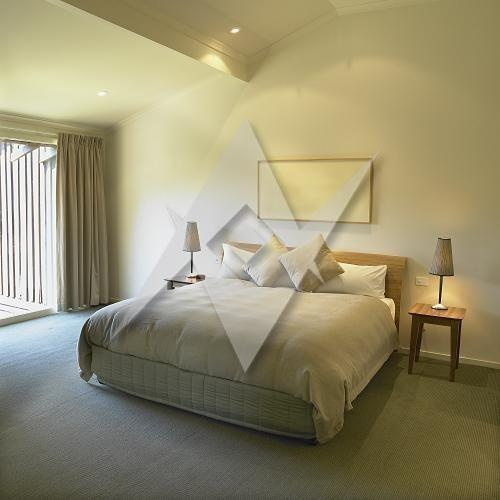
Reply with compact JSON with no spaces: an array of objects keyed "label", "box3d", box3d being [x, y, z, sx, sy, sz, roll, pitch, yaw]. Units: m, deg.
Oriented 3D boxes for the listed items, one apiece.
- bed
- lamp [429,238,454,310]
[{"label":"bed","box3d":[0.012,0.537,3.244,2.163,0.990,2.369,1,3,23]},{"label":"lamp","box3d":[1.575,0.191,3.132,0.167,0.581,0.332,2,5,29]}]
